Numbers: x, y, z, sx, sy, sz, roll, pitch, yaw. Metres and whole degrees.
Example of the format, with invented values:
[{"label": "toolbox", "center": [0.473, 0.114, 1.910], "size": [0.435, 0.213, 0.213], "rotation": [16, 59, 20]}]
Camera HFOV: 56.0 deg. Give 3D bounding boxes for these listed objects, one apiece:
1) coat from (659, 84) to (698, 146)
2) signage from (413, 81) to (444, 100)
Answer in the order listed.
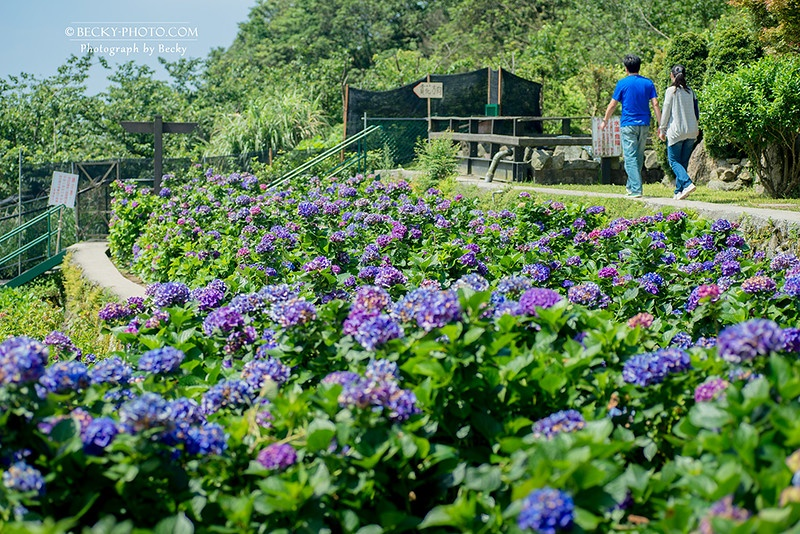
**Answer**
[{"label": "coat", "center": [3.322, -1.801, 8.985], "size": [0.409, 0.700, 0.287], "rotation": [-1, 7, 20]}, {"label": "signage", "center": [0.616, -3.609, 15.397], "size": [0.567, 0.360, 0.669], "rotation": [-2, 8, 13]}]
